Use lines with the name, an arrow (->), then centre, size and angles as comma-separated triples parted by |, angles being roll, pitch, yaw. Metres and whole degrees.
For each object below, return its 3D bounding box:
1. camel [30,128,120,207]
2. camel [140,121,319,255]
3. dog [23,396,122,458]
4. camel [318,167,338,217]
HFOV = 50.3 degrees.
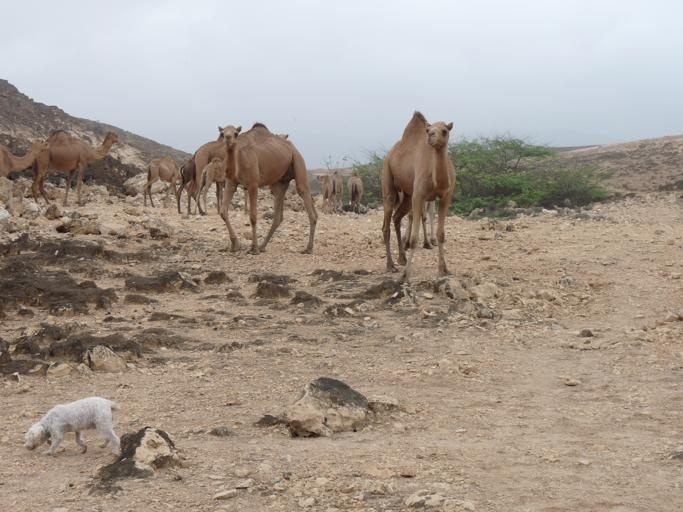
camel -> -7.533, -2.405, 18.802 | 2.025, 2.193, 2.035 | 2, 6, 22
camel -> -1.502, -1.405, 14.835 | 1.686, 2.712, 2.397 | -1, 4, 21
dog -> -2.531, 1.590, 6.910 | 0.979, 0.495, 0.378 | -2, 4, 3
camel -> -0.396, -2.316, 25.904 | 0.770, 1.432, 1.967 | -2, 4, -2
